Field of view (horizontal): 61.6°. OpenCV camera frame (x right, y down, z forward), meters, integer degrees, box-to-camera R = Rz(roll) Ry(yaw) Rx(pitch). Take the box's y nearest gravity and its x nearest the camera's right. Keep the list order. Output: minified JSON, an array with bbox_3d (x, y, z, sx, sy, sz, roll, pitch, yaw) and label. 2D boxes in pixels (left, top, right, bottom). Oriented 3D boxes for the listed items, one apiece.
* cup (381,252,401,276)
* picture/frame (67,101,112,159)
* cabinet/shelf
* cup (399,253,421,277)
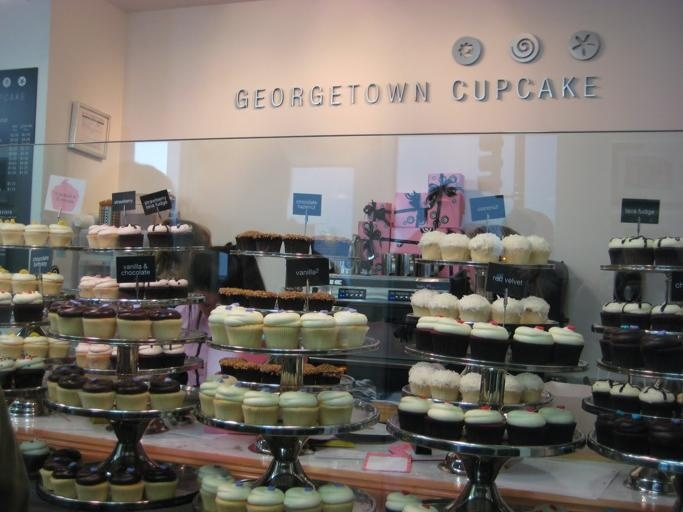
[{"bbox_3d":[0.316,0.051,3.567,0.128,0.169,0.129,-1,-1,0],"label":"cup"},{"bbox_3d":[-2.230,-1.131,5.098,0.051,0.410,0.445,4,-3,15],"label":"picture/frame"},{"bbox_3d":[0.332,0.436,3.692,0.675,0.603,0.364,2,-1,11],"label":"cabinet/shelf"},{"bbox_3d":[0.410,0.052,3.451,0.132,0.148,0.131,1,-3,0],"label":"cup"}]
